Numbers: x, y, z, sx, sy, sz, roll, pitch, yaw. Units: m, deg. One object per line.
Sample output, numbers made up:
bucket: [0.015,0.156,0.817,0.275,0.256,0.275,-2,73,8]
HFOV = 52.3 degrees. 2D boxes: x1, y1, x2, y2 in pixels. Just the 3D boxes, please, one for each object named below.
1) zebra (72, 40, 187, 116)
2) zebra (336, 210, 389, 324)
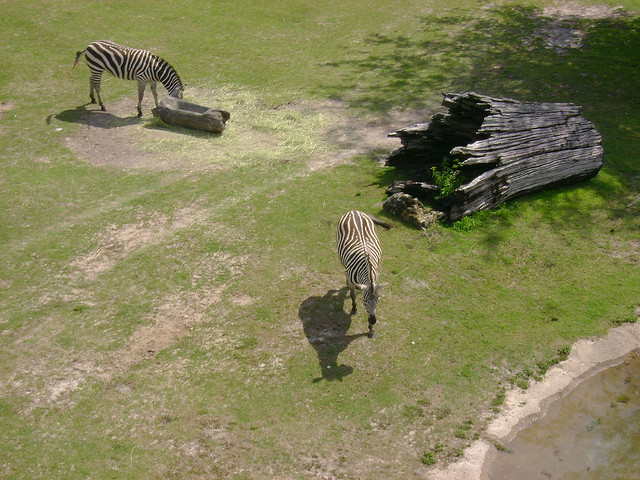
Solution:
zebra: [-6.105,-5.215,21.204,3.762,1.952,2.135,25,37,19]
zebra: [1.049,0.603,15.096,1.094,1.911,3.035,-4,44,-4]
